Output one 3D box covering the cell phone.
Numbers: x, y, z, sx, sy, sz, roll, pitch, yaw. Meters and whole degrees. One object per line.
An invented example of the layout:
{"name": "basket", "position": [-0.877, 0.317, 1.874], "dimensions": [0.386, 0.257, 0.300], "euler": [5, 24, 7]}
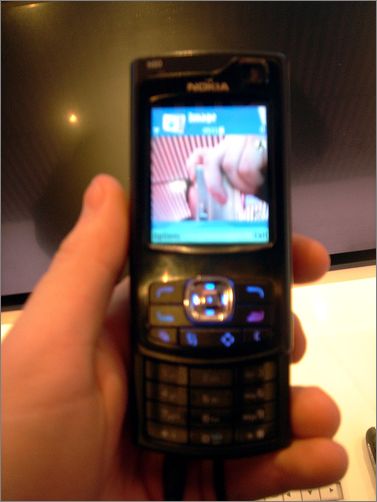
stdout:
{"name": "cell phone", "position": [0.020, 0.005, 0.454], "dimensions": [0.114, 0.413, 0.054], "euler": [1, 24, 3]}
